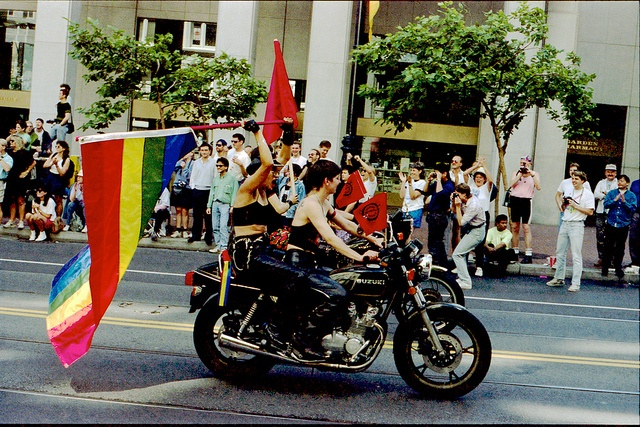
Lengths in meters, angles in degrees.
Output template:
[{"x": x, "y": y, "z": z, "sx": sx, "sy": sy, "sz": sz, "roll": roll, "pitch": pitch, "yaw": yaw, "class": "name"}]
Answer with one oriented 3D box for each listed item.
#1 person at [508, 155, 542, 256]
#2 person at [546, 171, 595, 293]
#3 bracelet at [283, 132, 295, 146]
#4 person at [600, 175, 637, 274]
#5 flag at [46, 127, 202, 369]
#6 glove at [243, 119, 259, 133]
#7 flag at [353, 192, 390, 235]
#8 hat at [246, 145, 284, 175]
[{"x": 5.317, "y": -0.136, "z": 25.236, "sx": 0.883, "sy": 2.754, "sz": 0.609, "roll": 5, "pitch": 4, "yaw": 36, "class": "person"}, {"x": 6.143, "y": 0.377, "z": 23.372, "sx": 0.933, "sy": 2.902, "sz": 0.937, "roll": 4, "pitch": 3, "yaw": 13, "class": "person"}, {"x": -0.629, "y": -1.435, "z": 18.593, "sx": 0.223, "sy": 0.228, "sz": 0.221, "roll": 18, "pitch": 26, "yaw": 32, "class": "bracelet"}, {"x": 7.606, "y": 0.320, "z": 24.382, "sx": 0.811, "sy": 2.584, "sz": 0.479, "roll": 4, "pitch": 3, "yaw": 17, "class": "person"}, {"x": -3.996, "y": 0.577, "z": 18.407, "sx": 2.311, "sy": 4.499, "sz": 0.808, "roll": 2, "pitch": 3, "yaw": -16, "class": "flag"}, {"x": -1.323, "y": -1.659, "z": 18.307, "sx": 0.310, "sy": 0.253, "sz": 0.486, "roll": 3, "pitch": 2, "yaw": -4, "class": "glove"}, {"x": 1.072, "y": 0.004, "z": 20.612, "sx": 0.705, "sy": 0.765, "sz": 0.049, "roll": 44, "pitch": 33, "yaw": 10, "class": "flag"}, {"x": -0.973, "y": -0.964, "z": 18.910, "sx": 0.990, "sy": 0.539, "sz": 0.495, "roll": -8, "pitch": 26, "yaw": -13, "class": "hat"}]
